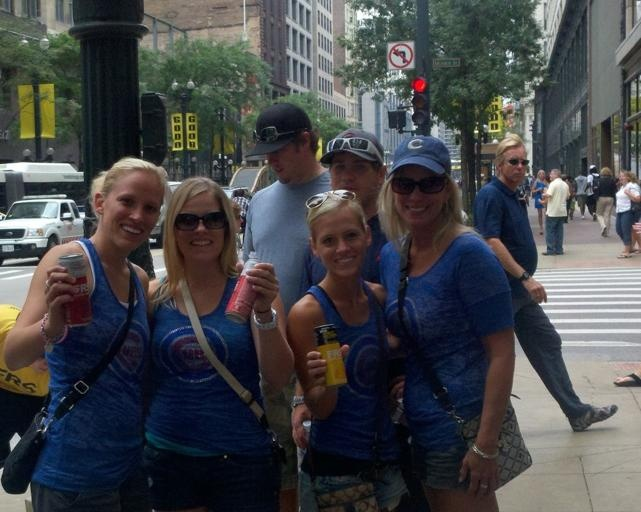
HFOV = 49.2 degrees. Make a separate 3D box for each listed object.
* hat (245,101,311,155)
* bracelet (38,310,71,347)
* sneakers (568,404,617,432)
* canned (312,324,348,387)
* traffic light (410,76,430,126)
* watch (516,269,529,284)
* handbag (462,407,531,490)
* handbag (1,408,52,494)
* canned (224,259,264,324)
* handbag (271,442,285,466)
[{"bbox_3d":[-0.242,-0.848,4.550,0.405,0.239,0.290,-26,18,-34],"label":"hat"},{"bbox_3d":[-1.178,0.327,3.051,0.115,0.164,0.054,7,15,4],"label":"bracelet"},{"bbox_3d":[2.346,1.424,6.106,0.316,0.144,0.109,-30,4,7],"label":"sneakers"},{"bbox_3d":[0.067,0.462,3.268,0.175,0.290,0.102,-6,6,-36],"label":"canned"},{"bbox_3d":[1.776,-2.775,12.604,0.289,0.953,0.348,-1,5,8],"label":"traffic light"},{"bbox_3d":[1.670,0.184,5.848,0.118,0.107,0.076,-26,65,-42],"label":"watch"},{"bbox_3d":[0.924,0.936,3.429,0.117,0.388,0.388,-4,24,48],"label":"handbag"},{"bbox_3d":[-1.365,0.936,3.242,0.223,0.442,0.295,-5,6,-27],"label":"handbag"},{"bbox_3d":[-0.361,0.160,3.229,0.124,0.282,0.192,2,7,36],"label":"canned"},{"bbox_3d":[-0.207,0.995,3.473,0.046,0.130,0.053,-22,6,-38],"label":"handbag"}]
